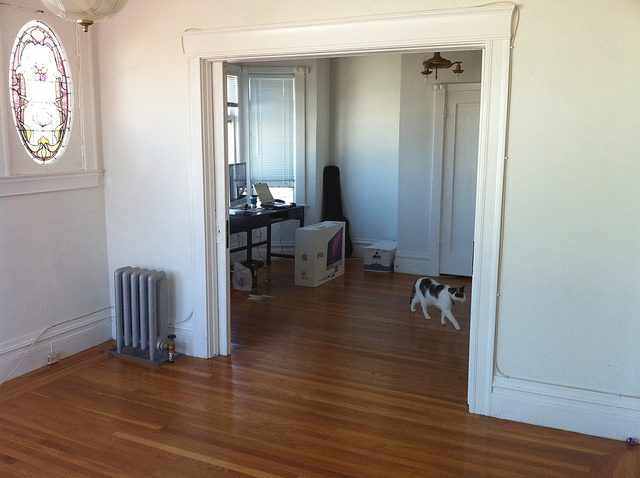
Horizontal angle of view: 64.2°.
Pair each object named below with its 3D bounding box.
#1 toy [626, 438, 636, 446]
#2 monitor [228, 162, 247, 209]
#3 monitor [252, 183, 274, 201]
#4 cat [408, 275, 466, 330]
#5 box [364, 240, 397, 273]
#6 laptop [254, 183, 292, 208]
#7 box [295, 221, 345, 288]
[{"bbox_3d":[2.100,1.377,3.462,0.037,0.018,0.050,1,13,13],"label":"toy"},{"bbox_3d":[-1.096,-0.737,6.954,0.192,0.591,0.589,-1,15,-6],"label":"monitor"},{"bbox_3d":[-0.777,-0.662,7.109,0.061,0.231,0.257,-17,-1,31],"label":"monitor"},{"bbox_3d":[1.251,0.647,5.450,0.241,0.497,0.779,-8,17,-27],"label":"cat"},{"bbox_3d":[0.900,0.249,7.530,0.439,0.348,0.530,3,15,11],"label":"box"},{"bbox_3d":[-0.638,-0.610,7.122,0.414,0.284,0.371,8,13,13],"label":"laptop"},{"bbox_3d":[0.006,0.225,6.755,0.262,0.672,0.807,0,8,32],"label":"box"}]
